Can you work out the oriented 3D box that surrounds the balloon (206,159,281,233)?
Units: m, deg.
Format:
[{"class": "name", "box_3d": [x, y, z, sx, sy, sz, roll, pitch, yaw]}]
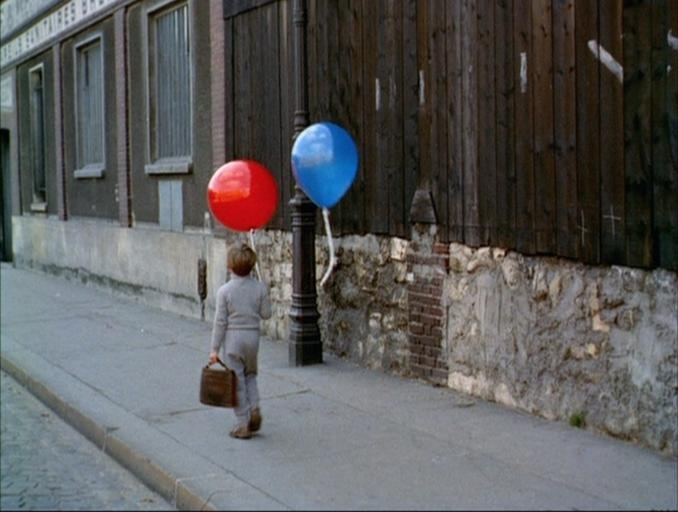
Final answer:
[{"class": "balloon", "box_3d": [-1.006, -0.680, 9.181, 0.676, 0.932, 0.698, -15, 23, -26]}]

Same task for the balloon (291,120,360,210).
[{"class": "balloon", "box_3d": [-0.157, -0.942, 8.498, 0.572, 1.081, 0.720, 0, 18, 9]}]

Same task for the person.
[{"class": "person", "box_3d": [-0.826, 0.733, 7.144, 0.457, 1.619, 0.472, 2, 10, 19]}]

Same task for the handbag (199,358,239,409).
[{"class": "handbag", "box_3d": [-1.014, 1.037, 6.992, 0.276, 0.432, 0.132, 7, 18, 0]}]
